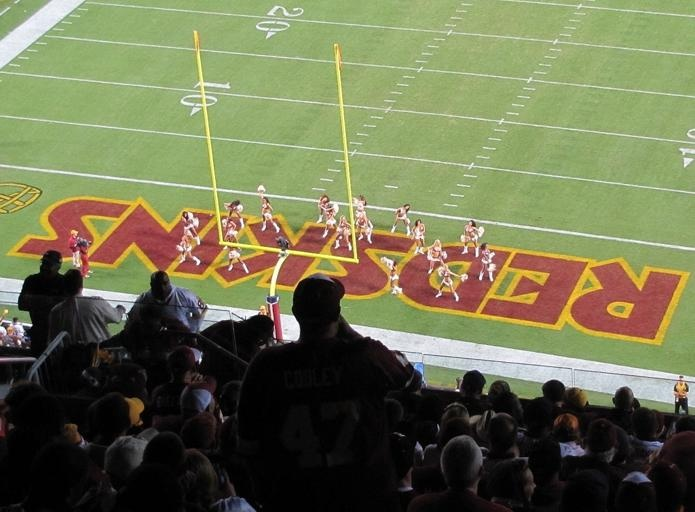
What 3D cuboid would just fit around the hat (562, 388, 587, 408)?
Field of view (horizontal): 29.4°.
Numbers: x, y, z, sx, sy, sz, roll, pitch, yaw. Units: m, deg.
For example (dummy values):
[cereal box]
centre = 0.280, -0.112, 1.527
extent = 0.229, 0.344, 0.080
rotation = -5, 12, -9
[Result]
[hat]
centre = 2.604, 1.623, 15.128
extent = 0.233, 0.141, 0.273
rotation = 0, 14, 13
